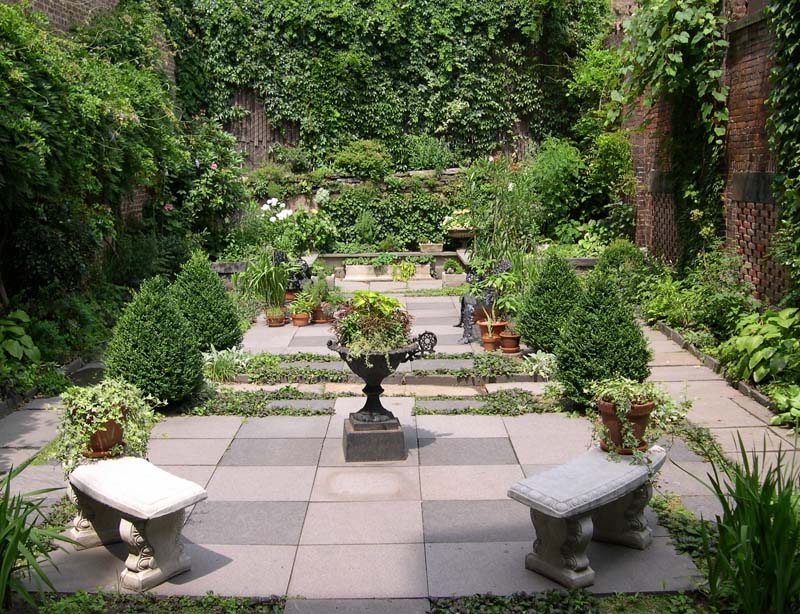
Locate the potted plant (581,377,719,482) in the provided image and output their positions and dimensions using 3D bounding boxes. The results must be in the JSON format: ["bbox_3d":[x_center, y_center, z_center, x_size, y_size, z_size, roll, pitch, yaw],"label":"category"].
[{"bbox_3d":[1.642,0.772,4.803,0.552,0.515,0.827,4,-6,-6],"label":"potted plant"}]

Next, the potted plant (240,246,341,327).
[{"bbox_3d":[-2.132,-0.368,10.764,1.130,0.981,1.253,4,17,22],"label":"potted plant"}]

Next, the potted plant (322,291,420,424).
[{"bbox_3d":[-0.190,0.367,5.924,0.996,1.110,0.882,0,7,0],"label":"potted plant"}]

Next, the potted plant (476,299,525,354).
[{"bbox_3d":[1.283,0.278,8.642,0.465,0.443,0.623,0,0,-2],"label":"potted plant"}]

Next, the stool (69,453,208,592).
[{"bbox_3d":[-1.730,1.355,4.326,1.033,0.545,0.571,10,10,39],"label":"stool"}]
